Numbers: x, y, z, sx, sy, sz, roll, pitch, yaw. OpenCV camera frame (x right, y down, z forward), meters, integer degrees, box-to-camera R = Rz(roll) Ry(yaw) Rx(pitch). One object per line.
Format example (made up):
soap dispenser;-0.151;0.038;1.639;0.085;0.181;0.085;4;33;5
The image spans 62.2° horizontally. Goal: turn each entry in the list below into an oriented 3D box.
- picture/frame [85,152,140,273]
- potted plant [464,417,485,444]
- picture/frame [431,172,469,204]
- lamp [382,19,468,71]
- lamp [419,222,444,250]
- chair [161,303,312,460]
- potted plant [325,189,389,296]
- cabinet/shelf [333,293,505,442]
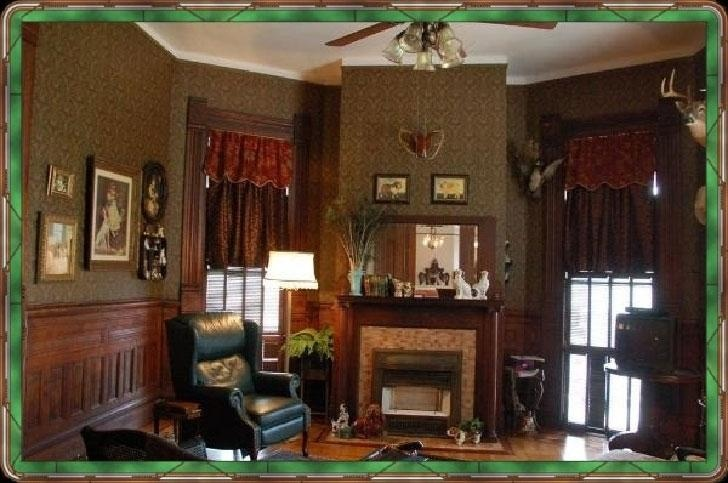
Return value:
picture/frame;-2.851;-0.297;6.828;0.229;1.329;0.883;4;10;12
potted plant;1.295;2.218;7.119;0.205;0.271;0.264;0;-8;3
picture/frame;1.069;-0.648;7.527;0.365;0.311;0.038;1;-8;1
lamp;0.555;-1.768;5.455;0.686;0.434;0.323;6;11;20
lamp;0.847;-0.051;7.649;0.264;0.358;0.266;3;-6;-2
chair;-1.281;1.483;7.041;1.582;1.927;1.500;-4;-6;27
potted plant;-0.235;0.108;8.437;1.049;1.779;1.128;-1;-6;8
cabinet/shelf;0.717;1.551;7.304;1.672;1.385;0.549;1;-5;4
